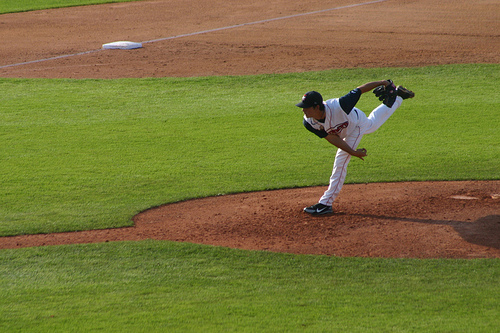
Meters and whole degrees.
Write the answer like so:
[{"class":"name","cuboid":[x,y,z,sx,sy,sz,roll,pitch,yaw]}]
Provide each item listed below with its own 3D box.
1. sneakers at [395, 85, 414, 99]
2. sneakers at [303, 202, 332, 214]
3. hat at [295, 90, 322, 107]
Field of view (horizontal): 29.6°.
[{"class":"sneakers","cuboid":[3.600,-1.690,21.812,0.270,0.135,0.401,27,4,30]},{"class":"sneakers","cuboid":[1.566,0.977,21.464,0.667,0.266,0.225,1,13,-5]},{"class":"hat","cuboid":[1.316,-1.495,20.944,0.536,0.256,0.321,-2,18,-7]}]
